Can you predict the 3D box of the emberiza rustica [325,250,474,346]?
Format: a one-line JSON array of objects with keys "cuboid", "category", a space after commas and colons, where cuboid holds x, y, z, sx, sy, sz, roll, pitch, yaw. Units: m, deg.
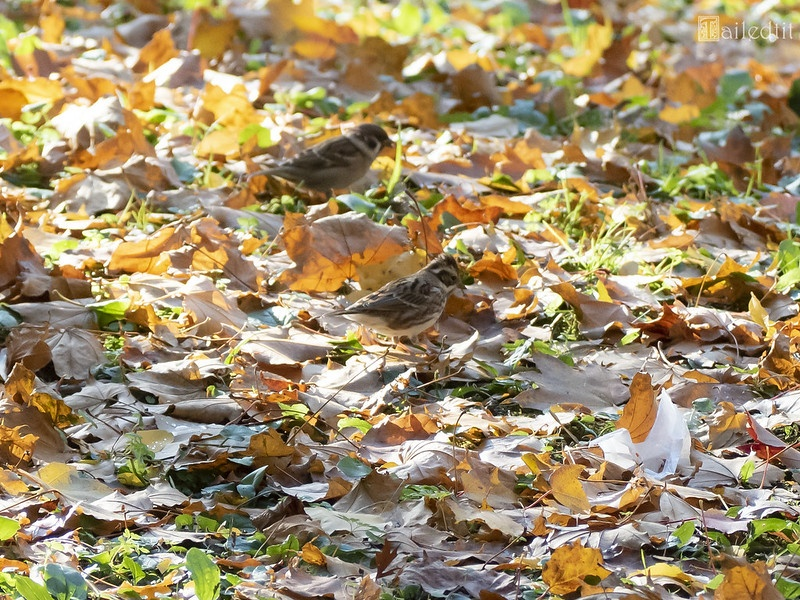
[{"cuboid": [0.087, 0.022, 5.305, 0.813, 0.410, 0.372, -34, 60, -27], "category": "emberiza rustica"}]
